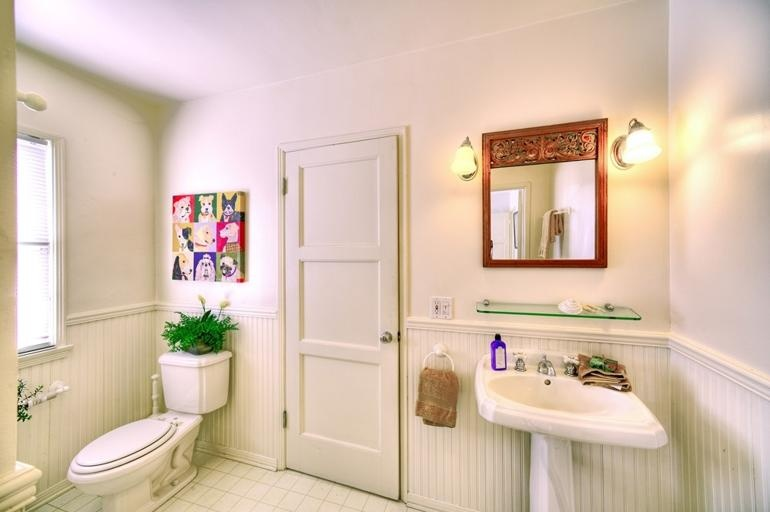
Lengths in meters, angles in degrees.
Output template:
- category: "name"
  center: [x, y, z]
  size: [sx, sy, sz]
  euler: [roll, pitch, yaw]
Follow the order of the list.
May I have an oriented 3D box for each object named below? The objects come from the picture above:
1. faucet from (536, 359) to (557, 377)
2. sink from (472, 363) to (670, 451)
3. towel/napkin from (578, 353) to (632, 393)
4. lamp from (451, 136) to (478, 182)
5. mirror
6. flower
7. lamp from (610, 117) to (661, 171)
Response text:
- category: "faucet"
  center: [1.009, 0.689, 3.379]
  size: [0.080, 0.092, 0.121]
  euler: [0, 21, -29]
- category: "sink"
  center: [1.053, 0.847, 3.156]
  size: [1.027, 0.347, 0.434]
  euler: [0, 2, 13]
- category: "towel/napkin"
  center: [1.342, 0.708, 3.264]
  size: [0.226, 0.073, 0.232]
  euler: [4, 6, 14]
- category: "lamp"
  center: [0.523, -0.642, 3.441]
  size: [0.164, 0.289, 0.228]
  euler: [0, 2, 10]
- category: "mirror"
  center: [1.051, -0.408, 3.404]
  size: [0.941, 1.167, 0.126]
  euler: [-1, -1, 16]
- category: "flower"
  center: [-1.375, 0.476, 4.010]
  size: [0.462, 0.325, 0.460]
  euler: [2, -4, -14]
- category: "lamp"
  center: [1.527, -0.694, 3.204]
  size: [0.276, 0.315, 0.272]
  euler: [0, 2, 13]
